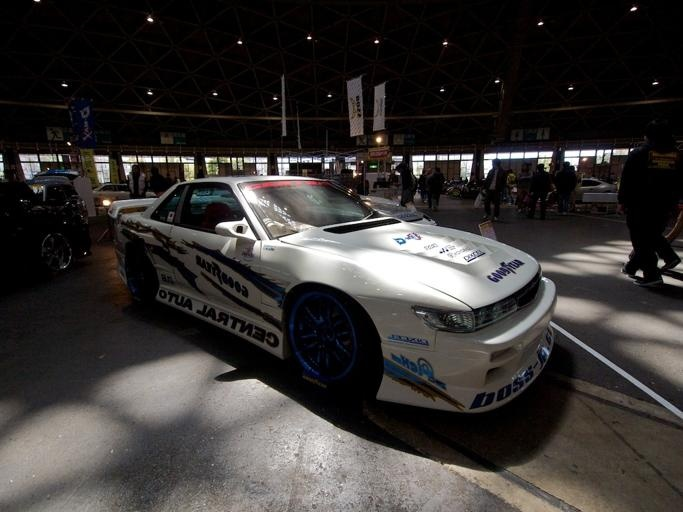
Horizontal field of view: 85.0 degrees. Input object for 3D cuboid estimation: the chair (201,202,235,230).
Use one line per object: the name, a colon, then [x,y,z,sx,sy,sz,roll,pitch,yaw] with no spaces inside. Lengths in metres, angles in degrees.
chair: [-1.381,-0.419,4.151,0.342,0.336,0.250,-3,-5,-3]

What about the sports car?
sports car: [-0.357,0.157,3.850,4.236,1.185,2.225,11,18,33]
